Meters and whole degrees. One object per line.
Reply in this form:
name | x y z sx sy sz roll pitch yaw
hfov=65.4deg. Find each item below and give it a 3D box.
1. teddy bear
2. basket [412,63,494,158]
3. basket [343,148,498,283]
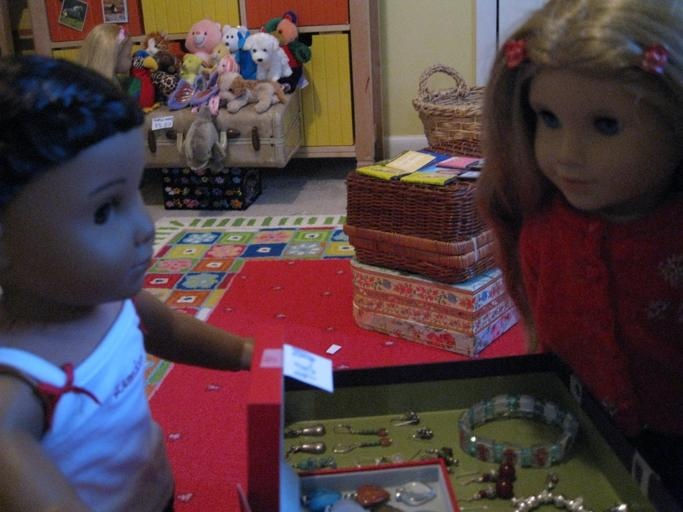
teddy bear | -0.726 -0.925 3.694 0.946 0.650 1.023 -1 51 7
basket | 0.730 -0.829 3.185 0.506 0.451 0.512 -11 20 -27
basket | 0.254 -0.128 1.796 0.352 0.280 0.505 -15 23 -22
